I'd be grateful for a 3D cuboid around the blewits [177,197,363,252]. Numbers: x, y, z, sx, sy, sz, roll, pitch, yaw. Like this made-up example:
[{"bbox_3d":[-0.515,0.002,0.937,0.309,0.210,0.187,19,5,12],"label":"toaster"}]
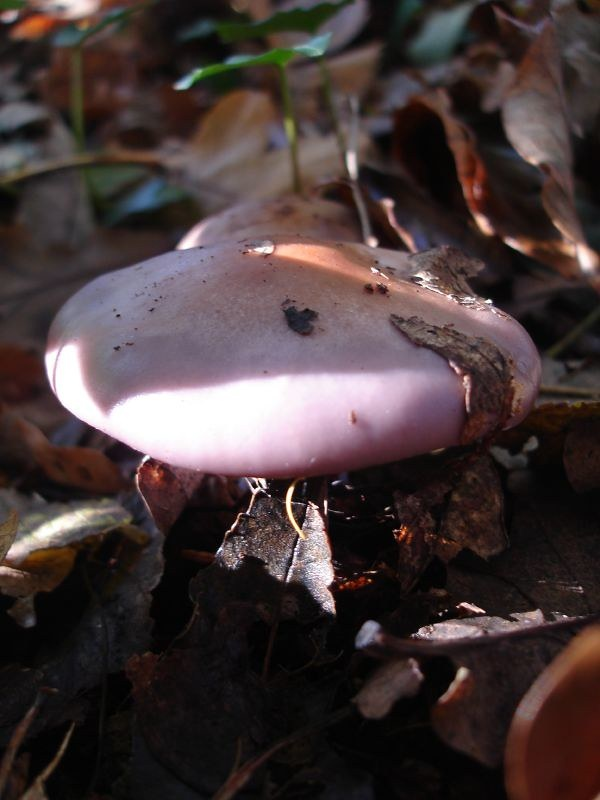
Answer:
[{"bbox_3d":[-0.024,-0.276,1.285,0.150,0.032,0.147,27,23,26],"label":"blewits"}]
